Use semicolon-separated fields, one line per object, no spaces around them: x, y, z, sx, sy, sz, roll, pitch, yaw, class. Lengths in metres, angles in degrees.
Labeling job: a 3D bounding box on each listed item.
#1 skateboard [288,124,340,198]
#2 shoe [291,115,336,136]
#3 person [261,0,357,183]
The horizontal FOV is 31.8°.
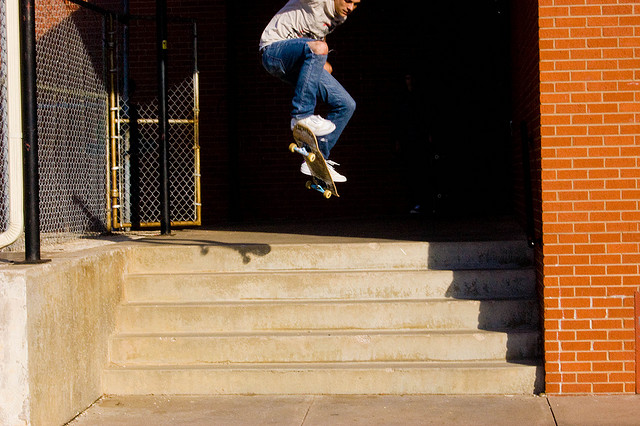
-0.026;-0.534;13.101;0.346;1.138;0.196;19;60;32;skateboard
-0.073;-1.007;12.979;0.485;0.200;0.210;0;27;-2;shoe
-0.117;-1.385;13.143;1.064;2.097;0.926;-2;4;-4;person
